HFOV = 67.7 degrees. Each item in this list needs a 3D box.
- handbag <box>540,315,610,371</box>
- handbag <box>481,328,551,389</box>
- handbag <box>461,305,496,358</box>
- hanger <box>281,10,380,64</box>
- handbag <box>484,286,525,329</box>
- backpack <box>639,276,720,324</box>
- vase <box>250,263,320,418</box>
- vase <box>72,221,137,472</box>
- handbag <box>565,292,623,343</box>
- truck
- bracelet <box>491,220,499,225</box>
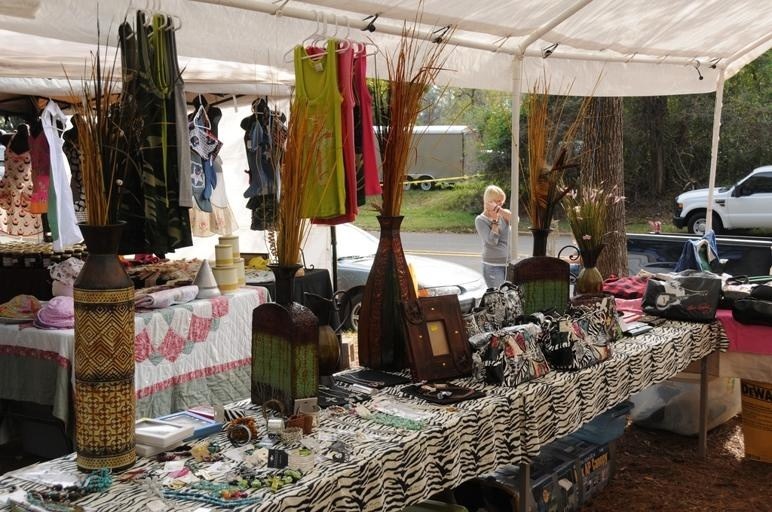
[{"bbox_3d":[1.074,0.474,3.158,0.360,0.262,0.152,-6,-8,-31],"label":"handbag"},{"bbox_3d":[0.683,0.494,2.984,0.366,0.277,0.203,-13,9,-30],"label":"handbag"},{"bbox_3d":[0.499,0.380,3.037,0.149,0.194,0.078,-15,-13,-30],"label":"handbag"},{"bbox_3d":[-0.339,-1.321,3.412,0.160,0.202,0.547,-6,13,-27],"label":"hanger"},{"bbox_3d":[0.680,0.286,3.207,0.247,0.274,0.135,-6,-11,-27],"label":"handbag"},{"bbox_3d":[2.012,0.279,3.904,0.346,0.267,0.361,0,2,29],"label":"backpack"},{"bbox_3d":[-0.431,0.366,2.531,0.370,0.665,0.172,14,17,43],"label":"vase"},{"bbox_3d":[-1.042,0.339,2.121,0.225,0.911,0.197,-3,13,-18],"label":"vase"},{"bbox_3d":[1.232,0.371,3.430,0.308,0.250,0.313,-4,-6,-30],"label":"handbag"},{"bbox_3d":[1.082,-2.688,16.666,2.162,1.442,1.342,1,9,25],"label":"truck"},{"bbox_3d":[1.194,-0.375,6.312,0.066,0.053,0.071,4,13,10],"label":"bracelet"}]
